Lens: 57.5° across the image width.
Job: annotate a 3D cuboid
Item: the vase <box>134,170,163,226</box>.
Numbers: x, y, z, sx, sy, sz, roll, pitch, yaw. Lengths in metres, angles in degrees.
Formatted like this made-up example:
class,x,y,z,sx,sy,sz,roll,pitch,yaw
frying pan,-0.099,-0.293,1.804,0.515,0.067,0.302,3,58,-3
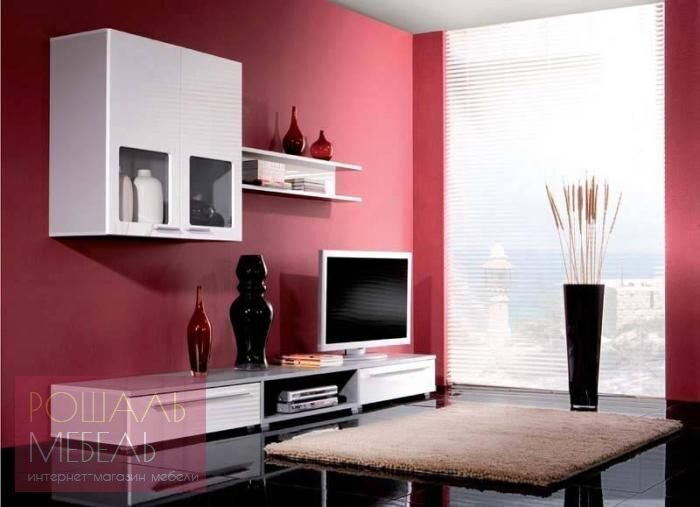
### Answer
class,x,y,z,sx,sy,sz,roll,pitch,yaw
vase,-1.246,-0.342,3.966,0.180,0.316,0.186,8,30,-10

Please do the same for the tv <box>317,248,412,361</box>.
class,x,y,z,sx,sy,sz,roll,pitch,yaw
tv,0.158,0.450,5.486,0.293,0.864,1.105,8,-10,-42

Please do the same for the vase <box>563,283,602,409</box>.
class,x,y,z,sx,sy,sz,roll,pitch,yaw
vase,1.935,0.762,5.310,0.311,1.012,0.314,0,-3,19

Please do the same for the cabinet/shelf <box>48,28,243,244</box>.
class,x,y,z,sx,sy,sz,roll,pitch,yaw
cabinet/shelf,-1.305,-0.721,4.249,0.473,1.314,1.324,3,4,28
